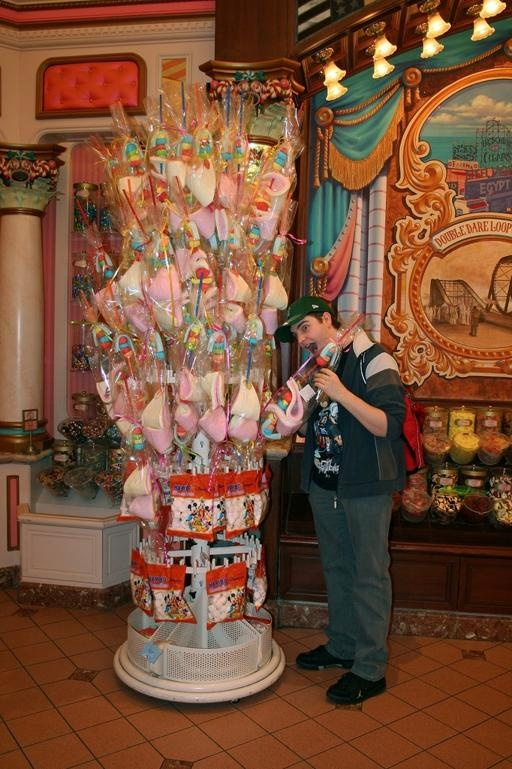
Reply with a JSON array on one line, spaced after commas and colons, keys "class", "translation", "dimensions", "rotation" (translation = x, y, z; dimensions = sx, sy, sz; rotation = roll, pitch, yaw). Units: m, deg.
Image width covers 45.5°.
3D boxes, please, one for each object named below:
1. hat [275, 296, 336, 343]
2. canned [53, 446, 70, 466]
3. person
[{"class": "hat", "translation": [0.168, -0.254, 2.319], "dimensions": [0.242, 0.128, 0.151], "rotation": [-10, -1, -5]}, {"class": "canned", "translation": [-1.136, 0.415, 3.525], "dimensions": [0.110, 0.105, 0.106], "rotation": [1, -2, 13]}, {"class": "person", "translation": [0.341, 0.436, 2.391], "dimensions": [0.515, 1.526, 0.543], "rotation": [-1, 3, -37]}]
